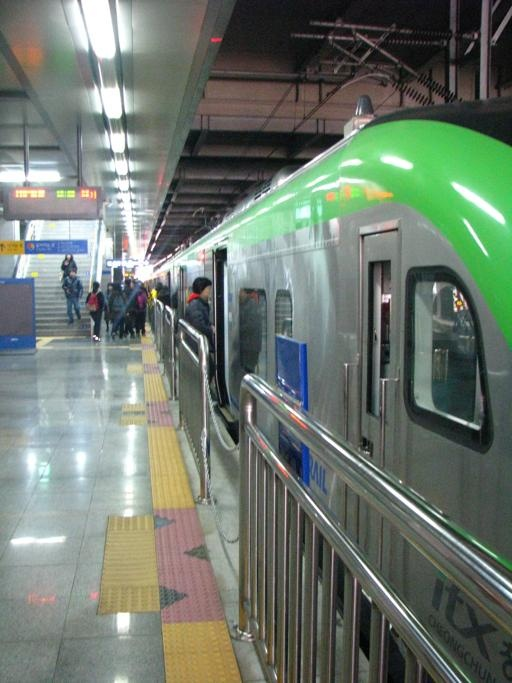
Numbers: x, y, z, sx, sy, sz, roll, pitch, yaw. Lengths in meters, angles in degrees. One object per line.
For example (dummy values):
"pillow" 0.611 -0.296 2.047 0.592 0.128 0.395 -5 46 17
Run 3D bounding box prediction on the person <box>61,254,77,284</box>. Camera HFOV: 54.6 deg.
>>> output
"person" -7.171 -2.780 19.070 0.359 1.074 1.160 -2 3 -33
